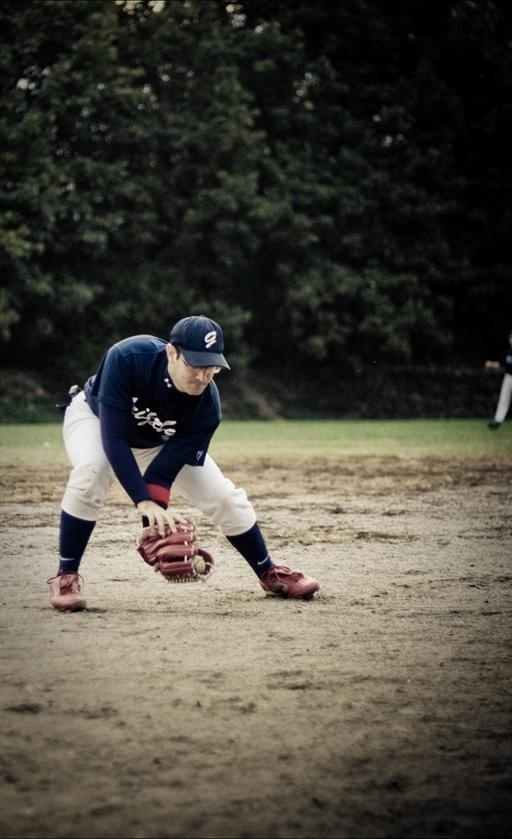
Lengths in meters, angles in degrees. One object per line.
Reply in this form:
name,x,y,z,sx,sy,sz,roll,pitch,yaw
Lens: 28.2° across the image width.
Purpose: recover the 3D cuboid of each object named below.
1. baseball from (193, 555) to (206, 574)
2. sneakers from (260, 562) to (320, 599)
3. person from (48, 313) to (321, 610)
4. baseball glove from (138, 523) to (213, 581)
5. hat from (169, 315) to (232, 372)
baseball,-0.198,0.505,3.569,0.059,0.064,0.062,4,7,0
sneakers,0.123,0.618,3.928,0.220,0.093,0.112,2,4,34
person,-0.180,0.117,3.940,1.243,1.122,0.989,7,-8,-40
baseball glove,-0.280,0.463,3.585,0.246,0.168,0.122,14,9,31
hat,-0.198,-0.257,3.410,0.145,0.121,0.218,-4,31,-38
